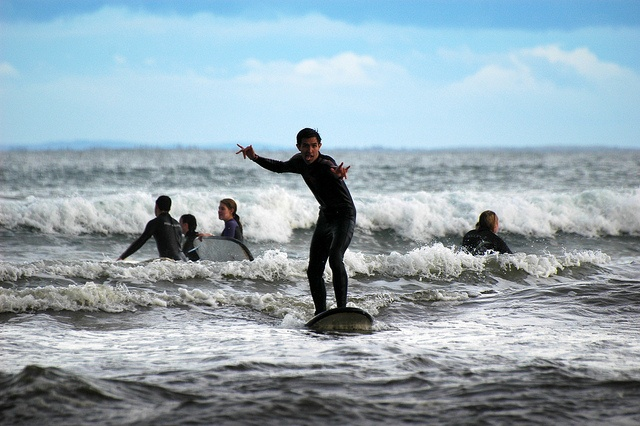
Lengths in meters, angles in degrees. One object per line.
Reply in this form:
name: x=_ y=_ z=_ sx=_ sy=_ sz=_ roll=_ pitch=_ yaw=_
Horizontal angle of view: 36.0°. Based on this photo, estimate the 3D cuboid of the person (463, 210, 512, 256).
person: x=3.641 y=0.425 z=21.230 sx=1.041 sy=1.092 sz=0.737 roll=5 pitch=14 yaw=8

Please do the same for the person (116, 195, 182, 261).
person: x=-4.228 y=0.404 z=23.926 sx=0.621 sy=1.783 sz=1.296 roll=10 pitch=21 yaw=40
